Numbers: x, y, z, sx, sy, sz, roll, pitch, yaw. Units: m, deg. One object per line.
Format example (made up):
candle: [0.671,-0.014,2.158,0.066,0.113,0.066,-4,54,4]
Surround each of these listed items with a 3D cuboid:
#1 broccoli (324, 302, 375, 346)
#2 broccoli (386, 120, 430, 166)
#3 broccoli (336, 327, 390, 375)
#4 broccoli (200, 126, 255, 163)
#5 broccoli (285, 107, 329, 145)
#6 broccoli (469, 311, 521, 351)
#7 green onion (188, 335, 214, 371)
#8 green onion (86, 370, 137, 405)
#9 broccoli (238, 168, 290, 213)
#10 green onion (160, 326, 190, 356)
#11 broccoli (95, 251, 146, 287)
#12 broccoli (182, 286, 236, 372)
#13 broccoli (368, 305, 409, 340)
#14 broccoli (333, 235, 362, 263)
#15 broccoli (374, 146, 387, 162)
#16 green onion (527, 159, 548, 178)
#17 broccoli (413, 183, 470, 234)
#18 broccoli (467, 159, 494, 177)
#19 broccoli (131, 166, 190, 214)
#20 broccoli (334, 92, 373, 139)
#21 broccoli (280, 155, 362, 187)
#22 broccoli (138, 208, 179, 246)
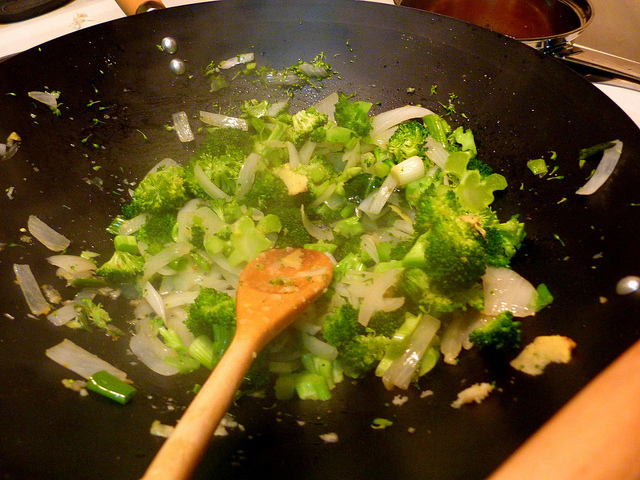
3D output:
broccoli: [0.114,0.417,2.649,0.189,0.099,0.212,14,45,16]
broccoli: [0.486,-0.540,2.966,0.211,0.166,0.225,-5,112,-5]
broccoli: [0.206,0.536,2.624,0.187,0.112,0.266,44,80,9]
broccoli: [-0.534,-0.556,3.113,0.243,0.096,0.216,5,48,4]
broccoli: [-0.079,-0.648,3.051,0.192,0.271,0.179,-4,101,-1]
broccoli: [0.839,0.445,2.520,0.241,0.126,0.166,-29,79,-7]
green onion: [-0.571,0.545,2.645,0.103,0.062,0.159,-31,63,-3]
green onion: [-0.954,0.669,2.464,0.185,0.051,0.119,24,35,9]
broccoli: [-0.308,-0.302,2.952,0.255,0.204,0.226,-10,108,-16]
green onion: [-0.730,0.509,2.713,0.095,0.051,0.168,-34,59,-21]
broccoli: [-1.021,0.135,2.859,0.203,0.261,0.163,-4,101,-11]
broccoli: [-0.544,0.414,2.663,0.296,0.251,0.328,35,79,7]
broccoli: [0.344,0.384,2.617,0.160,0.042,0.125,-39,78,-3]
broccoli: [0.154,0.041,2.912,0.057,0.117,0.156,43,49,-18]
broccoli: [0.342,-0.486,3.057,0.067,0.020,0.085,2,74,2]
green onion: [1.110,-0.363,2.764,0.076,0.091,0.079,-3,76,-9]
broccoli: [0.595,-0.179,2.666,0.218,0.190,0.263,2,109,8]
broccoli: [0.850,-0.386,2.862,0.099,0.045,0.105,-9,38,-23]
broccoli: [-0.857,-0.247,2.928,0.253,0.094,0.236,-22,55,2]
broccoli: [0.188,-0.701,3.053,0.145,0.171,0.256,-12,110,-23]
broccoli: [0.016,-0.459,3.095,0.389,0.360,0.148,-23,111,-20]
broccoli: [-0.854,-0.063,2.913,0.162,0.059,0.206,39,83,19]
